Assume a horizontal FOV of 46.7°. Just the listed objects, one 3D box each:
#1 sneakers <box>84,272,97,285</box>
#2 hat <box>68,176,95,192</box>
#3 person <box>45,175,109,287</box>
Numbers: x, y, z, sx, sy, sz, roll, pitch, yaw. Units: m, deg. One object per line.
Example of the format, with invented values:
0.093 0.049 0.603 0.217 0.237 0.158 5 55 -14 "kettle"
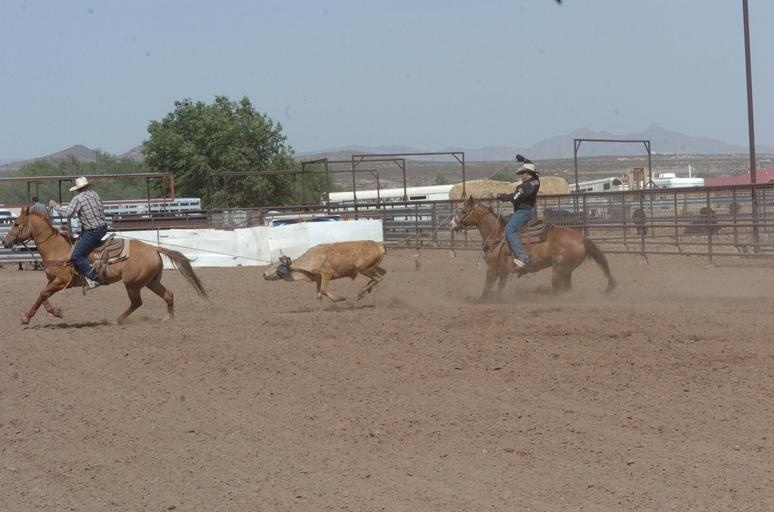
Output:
-5.090 0.390 15.509 0.173 0.244 0.104 -18 14 28 "sneakers"
-5.338 -1.309 15.646 0.352 0.156 0.407 -27 3 -4 "hat"
-5.277 -0.395 15.616 0.833 1.974 1.068 -4 6 -18 "person"
